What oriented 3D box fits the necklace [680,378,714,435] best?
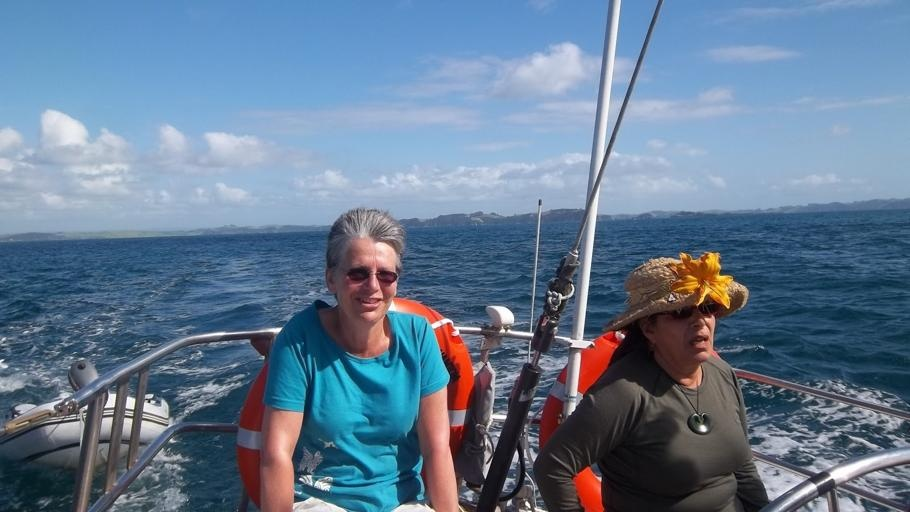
[{"bbox_3d":[1.858,1.196,4.123,0.192,0.322,0.130,-2,7,-17],"label":"necklace"}]

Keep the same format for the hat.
[{"bbox_3d":[1.726,0.245,4.244,0.872,0.292,0.764,-20,-7,9],"label":"hat"}]

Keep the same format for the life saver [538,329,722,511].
[{"bbox_3d":[1.560,1.266,5.065,0.499,1.503,1.779,29,37,14],"label":"life saver"}]

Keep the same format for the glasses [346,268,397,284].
[{"bbox_3d":[-0.658,0.156,4.284,0.399,0.123,0.077,0,7,-5],"label":"glasses"}]
